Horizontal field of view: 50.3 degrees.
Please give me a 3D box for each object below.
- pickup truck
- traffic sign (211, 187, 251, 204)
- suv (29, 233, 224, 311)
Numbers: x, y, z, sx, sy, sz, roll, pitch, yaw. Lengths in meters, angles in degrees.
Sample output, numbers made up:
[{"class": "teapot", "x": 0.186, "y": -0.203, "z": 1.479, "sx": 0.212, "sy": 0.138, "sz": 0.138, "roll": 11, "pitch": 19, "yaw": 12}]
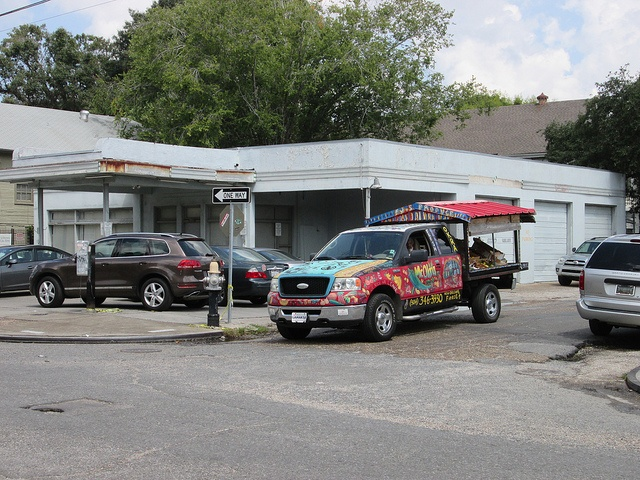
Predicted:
[{"class": "pickup truck", "x": 1.812, "y": 0.602, "z": 15.681, "sx": 2.867, "sy": 2.807, "sz": 6.384, "roll": -4, "pitch": -5, "yaw": 39}, {"class": "traffic sign", "x": -2.051, "y": -1.038, "z": 15.811, "sx": 1.180, "sy": 0.385, "sz": 0.376, "roll": 2, "pitch": 2, "yaw": 43}, {"class": "suv", "x": -5.406, "y": 0.835, "z": 19.310, "sx": 4.828, "sy": 1.790, "sz": 2.231, "roll": 0, "pitch": -2, "yaw": 16}]
